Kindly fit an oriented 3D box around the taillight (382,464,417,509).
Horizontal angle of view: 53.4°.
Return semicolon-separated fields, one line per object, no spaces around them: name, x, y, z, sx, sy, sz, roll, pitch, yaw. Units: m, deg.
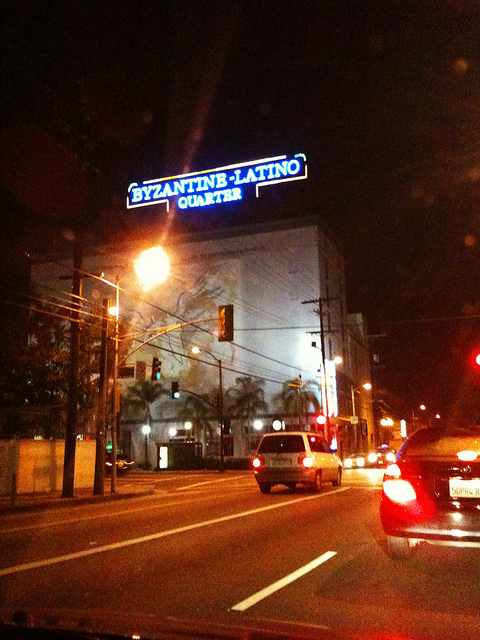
taillight;1.934;2.040;5.892;0.286;0.490;0.582;0;-12;-9

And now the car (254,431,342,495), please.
car;2.345;5.481;18.637;1.984;2.232;3.986;-13;-17;43

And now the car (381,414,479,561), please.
car;2.577;2.313;6.732;0.824;1.184;2.562;-2;-7;15

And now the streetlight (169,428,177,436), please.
streetlight;-10.819;17.996;77.110;0.868;1.246;1.475;9;-17;-44

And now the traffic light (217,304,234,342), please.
traffic light;-0.642;0.109;22.316;0.616;1.782;0.992;-1;-10;-6

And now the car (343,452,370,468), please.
car;11.576;13.929;47.118;1.435;1.402;5.824;-9;-15;29

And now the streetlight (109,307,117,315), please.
streetlight;-5.983;-0.427;22.579;0.351;0.403;0.336;2;-12;-20

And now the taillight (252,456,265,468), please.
taillight;0.724;5.312;17.976;0.415;0.393;0.290;0;-11;-10

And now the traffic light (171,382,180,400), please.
traffic light;-4.517;4.859;33.395;0.407;1.173;1.386;-1;-12;-5
